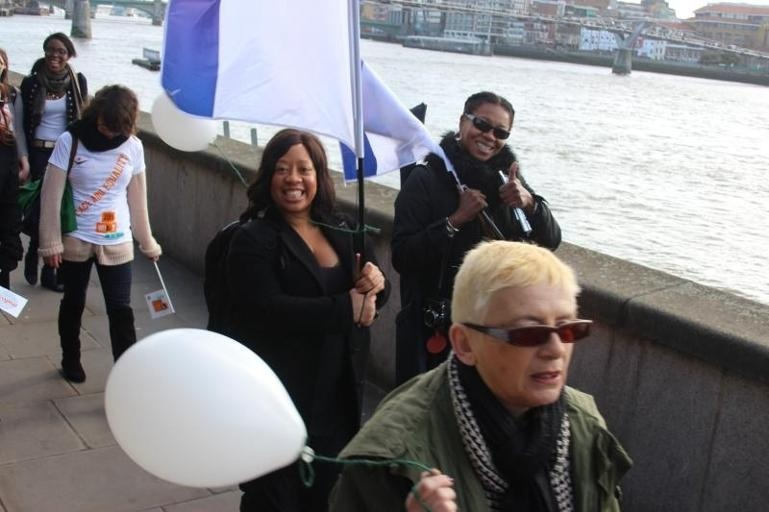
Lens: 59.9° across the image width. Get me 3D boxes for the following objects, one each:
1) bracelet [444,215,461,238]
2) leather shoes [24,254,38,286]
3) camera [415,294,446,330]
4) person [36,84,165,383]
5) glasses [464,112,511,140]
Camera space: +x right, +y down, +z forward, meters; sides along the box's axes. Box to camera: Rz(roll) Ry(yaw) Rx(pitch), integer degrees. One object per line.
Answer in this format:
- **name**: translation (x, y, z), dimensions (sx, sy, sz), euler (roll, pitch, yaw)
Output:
- **bracelet**: translation (0.362, -0.154, 3.688), dimensions (0.061, 0.102, 0.078), euler (-25, -26, 35)
- **leather shoes**: translation (-3.573, 0.154, 6.771), dimensions (0.217, 0.306, 0.104), euler (-2, 5, 35)
- **camera**: translation (0.311, 0.313, 3.791), dimensions (0.191, 0.167, 0.190), euler (3, 21, 7)
- **person**: translation (-2.096, -0.120, 4.955), dimensions (0.821, 2.194, 0.621), euler (-2, 22, -25)
- **glasses**: translation (0.590, -0.740, 3.863), dimensions (0.279, 0.127, 0.107), euler (8, 19, 3)
